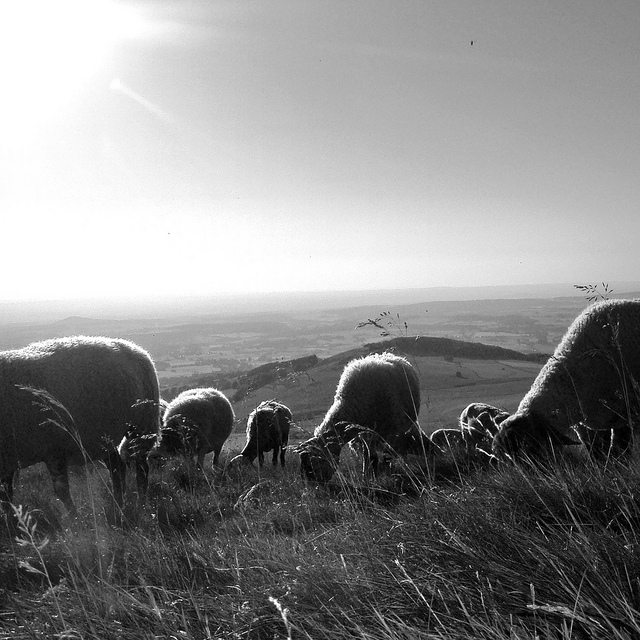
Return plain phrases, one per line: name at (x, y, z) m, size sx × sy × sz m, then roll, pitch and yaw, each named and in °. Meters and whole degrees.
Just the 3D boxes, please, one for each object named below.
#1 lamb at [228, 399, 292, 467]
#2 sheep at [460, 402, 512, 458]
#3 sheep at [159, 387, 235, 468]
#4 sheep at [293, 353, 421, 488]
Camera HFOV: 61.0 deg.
lamb at (-1.151, 2.473, 11.401) m, size 0.740 × 1.087 × 1.863 m, roll 0°, pitch 4°, yaw 12°
sheep at (2.957, 2.287, 10.033) m, size 1.064 × 0.458 × 0.910 m, roll 15°, pitch -31°, yaw 26°
sheep at (-2.642, 2.301, 11.746) m, size 2.020 × 1.612 × 0.945 m, roll 1°, pitch 10°, yaw 32°
sheep at (0.368, 1.613, 8.723) m, size 1.091 × 1.933 × 3.209 m, roll -10°, pitch -2°, yaw 27°
